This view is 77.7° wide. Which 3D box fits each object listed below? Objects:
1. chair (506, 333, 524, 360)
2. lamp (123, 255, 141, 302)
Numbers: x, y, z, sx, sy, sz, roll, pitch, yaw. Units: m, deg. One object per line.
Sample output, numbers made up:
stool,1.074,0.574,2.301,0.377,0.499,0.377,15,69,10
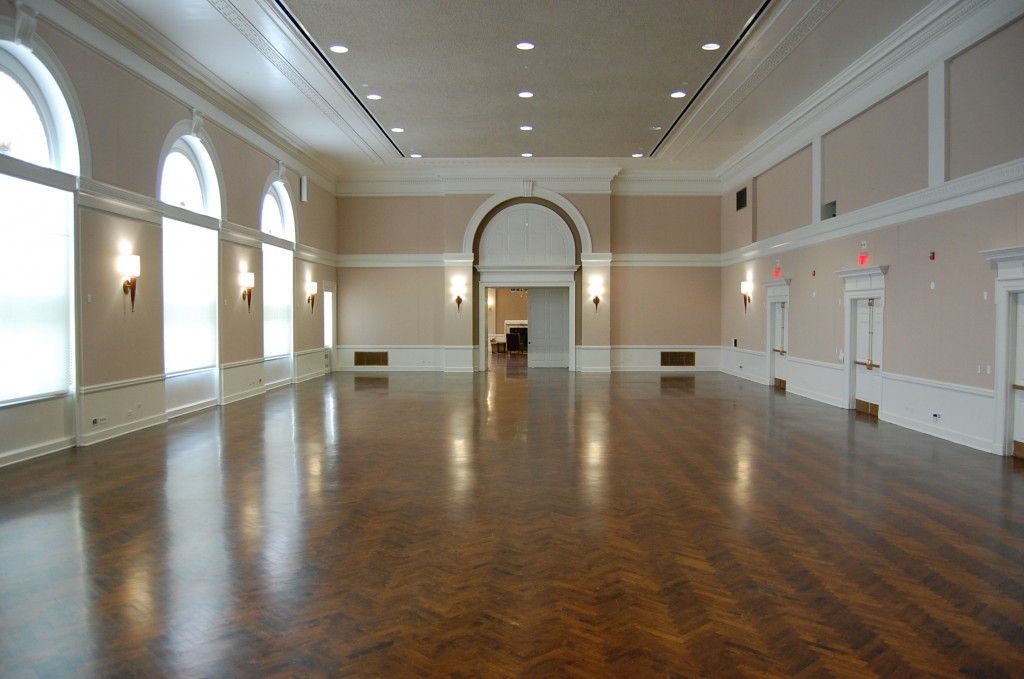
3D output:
chair,0.049,0.250,29.185,0.849,1.354,0.948,1,0,12
lamp,-6.807,-1.070,11.498,0.170,0.882,0.428,0,5,3
